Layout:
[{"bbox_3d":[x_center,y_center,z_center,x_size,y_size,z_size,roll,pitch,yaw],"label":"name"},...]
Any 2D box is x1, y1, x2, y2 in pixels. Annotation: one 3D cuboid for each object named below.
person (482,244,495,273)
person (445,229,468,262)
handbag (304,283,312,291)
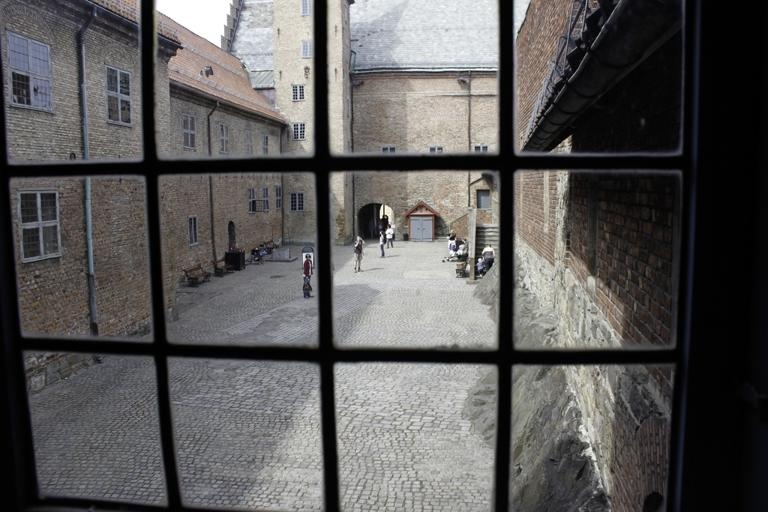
[{"bbox_3d":[3.873,0.171,20.589,0.473,0.980,1.007,1,2,10],"label":"person"},{"bbox_3d":[3.720,-0.522,28.137,0.854,1.387,1.974,15,-1,-4],"label":"person"},{"bbox_3d":[-2.660,1.079,19.255,0.208,0.212,0.368,-4,-11,3],"label":"handbag"}]
